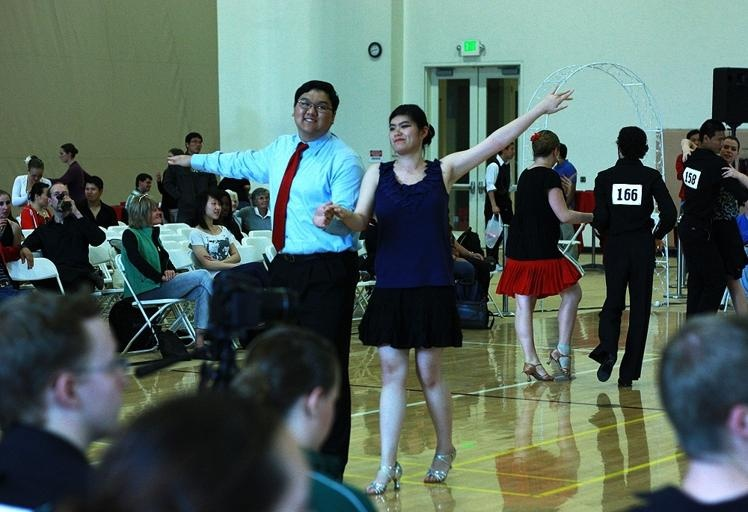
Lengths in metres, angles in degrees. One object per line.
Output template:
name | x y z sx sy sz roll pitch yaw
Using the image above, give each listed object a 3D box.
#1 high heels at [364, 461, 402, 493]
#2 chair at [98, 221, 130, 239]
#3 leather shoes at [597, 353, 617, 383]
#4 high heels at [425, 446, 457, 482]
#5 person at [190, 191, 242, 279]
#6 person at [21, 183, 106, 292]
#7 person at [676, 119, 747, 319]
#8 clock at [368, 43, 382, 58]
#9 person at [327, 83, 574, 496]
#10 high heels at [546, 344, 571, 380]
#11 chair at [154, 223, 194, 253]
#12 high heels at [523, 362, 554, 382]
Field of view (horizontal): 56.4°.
high heels | 0.056 1.170 3.689 0.250 0.141 0.100 -1 -4 -40
chair | -3.220 -0.319 8.563 0.238 0.351 0.282 -2 -8 6
leather shoes | 1.944 0.937 5.815 0.095 0.316 0.117 15 -6 16
high heels | 0.376 1.151 3.834 0.092 0.107 0.253 -7 7 22
person | -1.748 -0.228 7.887 0.591 1.020 0.584 -2 0 12
person | -3.407 -0.179 7.615 0.997 1.477 0.789 -4 -13 -21
person | 3.223 -0.357 6.610 0.572 1.934 0.721 1 4 25
clock | 0.032 -4.484 15.186 0.300 0.341 0.102 0 0 17
person | 0.311 0.213 3.702 0.823 2.048 0.339 -1 3 -2
high heels | 1.702 1.014 6.384 0.134 0.183 0.425 12 -26 7
chair | -2.416 -0.212 8.396 0.334 0.493 0.382 0 -7 1
high heels | 1.460 1.032 6.215 0.346 0.190 0.122 -1 1 -14
